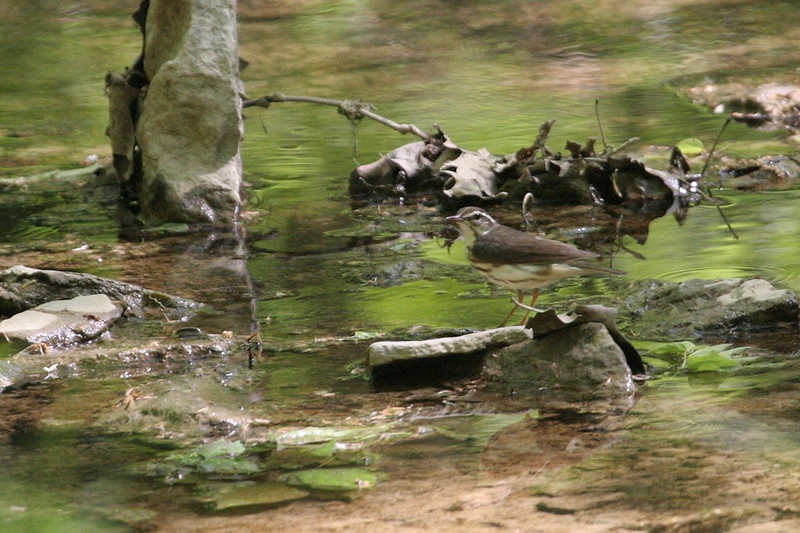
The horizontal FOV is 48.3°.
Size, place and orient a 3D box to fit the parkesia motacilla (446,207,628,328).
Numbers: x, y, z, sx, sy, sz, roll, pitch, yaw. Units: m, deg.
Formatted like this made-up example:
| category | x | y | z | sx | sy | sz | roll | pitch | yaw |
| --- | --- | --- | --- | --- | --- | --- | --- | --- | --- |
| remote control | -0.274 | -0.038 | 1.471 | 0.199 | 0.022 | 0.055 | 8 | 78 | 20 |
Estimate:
| category | x | y | z | sx | sy | sz | roll | pitch | yaw |
| --- | --- | --- | --- | --- | --- | --- | --- | --- | --- |
| parkesia motacilla | 1.065 | -0.144 | 7.652 | 1.235 | 0.690 | 0.451 | 6 | 14 | 40 |
